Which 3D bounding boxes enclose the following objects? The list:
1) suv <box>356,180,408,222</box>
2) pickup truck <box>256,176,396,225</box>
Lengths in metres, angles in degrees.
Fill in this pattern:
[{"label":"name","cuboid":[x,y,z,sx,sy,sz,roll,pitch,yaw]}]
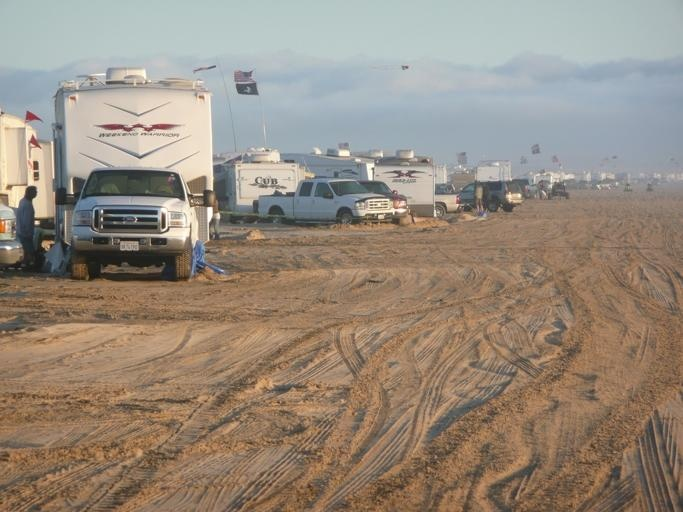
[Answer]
[{"label":"suv","cuboid":[1.452,-1.932,27.978,1.059,0.824,1.854,-3,4,-27]},{"label":"pickup truck","cuboid":[-0.568,-1.733,27.531,3.728,1.093,1.772,1,4,34]}]
